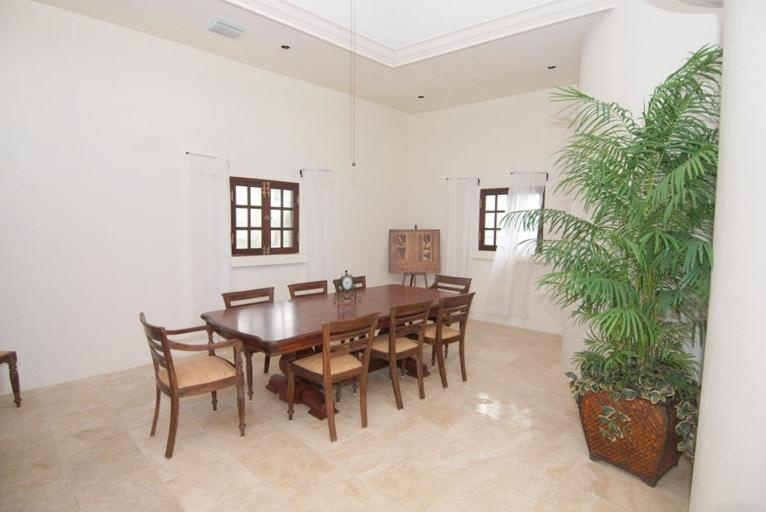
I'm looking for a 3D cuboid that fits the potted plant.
[{"bbox_3d":[2.364,0.015,4.688,1.414,3.732,2.142,2,7,34],"label":"potted plant"}]

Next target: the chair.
[{"bbox_3d":[-0.973,1.076,5.087,2.730,1.257,1.323,-5,5,-29],"label":"chair"}]
